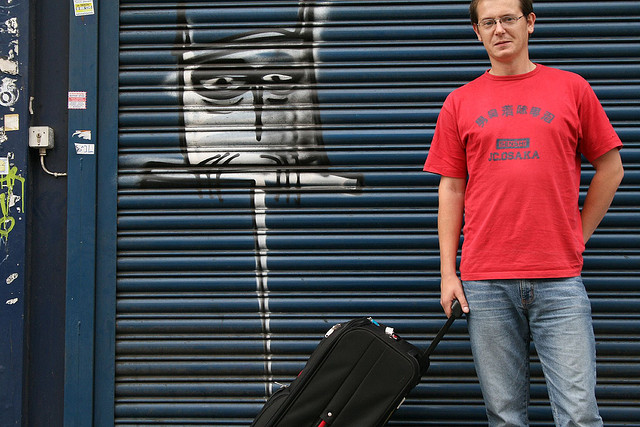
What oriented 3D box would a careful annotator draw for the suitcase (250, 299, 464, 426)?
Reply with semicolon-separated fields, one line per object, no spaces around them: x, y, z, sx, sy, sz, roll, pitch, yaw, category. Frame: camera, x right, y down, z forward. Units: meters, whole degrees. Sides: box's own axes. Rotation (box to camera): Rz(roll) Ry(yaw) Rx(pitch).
0.243;1.208;8.870;0.861;1.359;0.509;44;7;20;suitcase

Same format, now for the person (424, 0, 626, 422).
1.469;-0.012;8.767;1.293;2.979;1.090;11;-21;-17;person
